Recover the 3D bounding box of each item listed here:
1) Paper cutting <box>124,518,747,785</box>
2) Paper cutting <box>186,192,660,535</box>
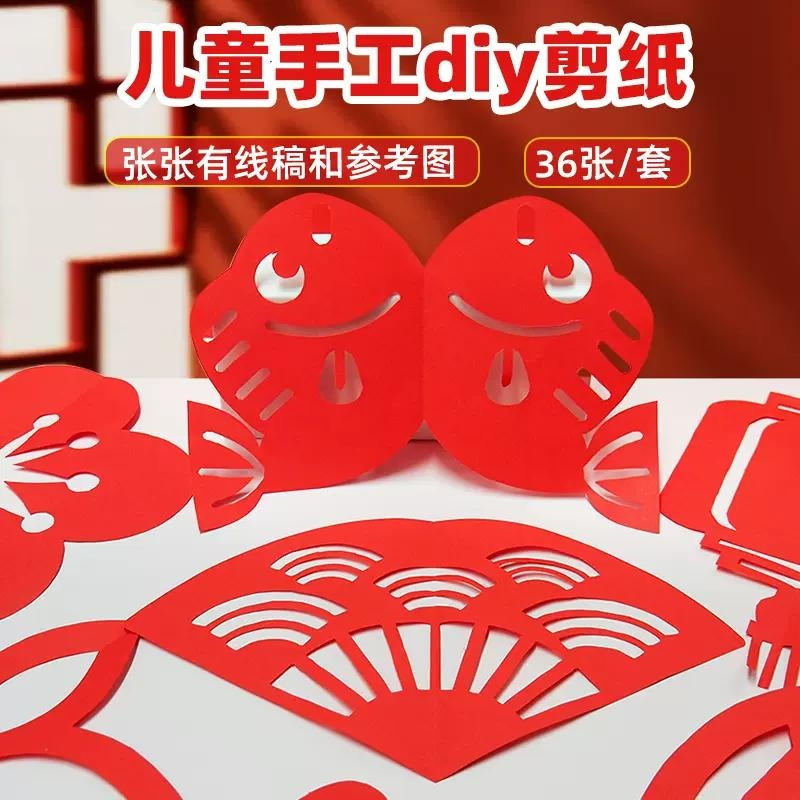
[{"bbox_3d":[0.034,0.305,1.196,0.661,0.114,0.570,-13,17,-35],"label":"Paper cutting"},{"bbox_3d":[0.034,-0.085,1.546,0.826,0.563,0.368,-3,14,2],"label":"Paper cutting"}]
